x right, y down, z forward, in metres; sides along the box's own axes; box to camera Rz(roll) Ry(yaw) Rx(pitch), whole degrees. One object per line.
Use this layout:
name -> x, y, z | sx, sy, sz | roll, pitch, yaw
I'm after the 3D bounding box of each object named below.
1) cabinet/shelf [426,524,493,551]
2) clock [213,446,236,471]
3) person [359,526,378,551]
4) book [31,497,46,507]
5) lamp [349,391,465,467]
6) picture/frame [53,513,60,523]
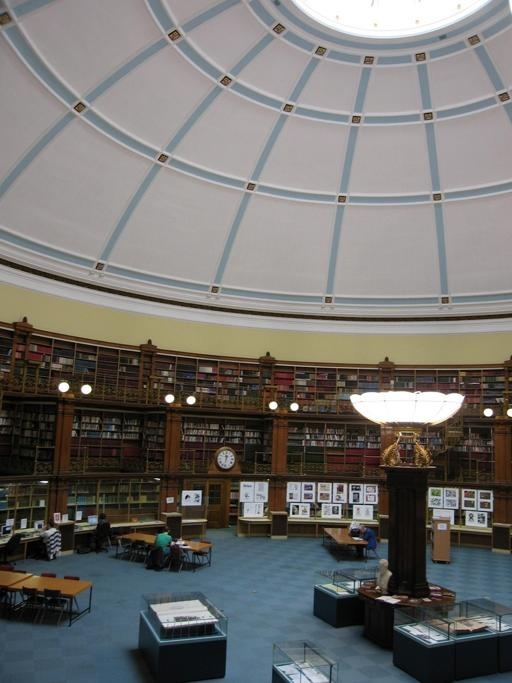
cabinet/shelf -> 5.547, 5.040, 12.328 | 0.972, 0.485, 0.355 | -3, -15, 22
clock -> -0.856, 3.174, 12.909 | 0.567, 0.596, 0.235 | 2, -11, -24
person -> 2.468, 4.360, 10.521 | 0.323, 0.442, 0.750 | 0, -14, 10
book -> -4.555, 3.296, 10.023 | 0.151, 0.183, 0.276 | -2, -10, 10
lamp -> 1.758, 0.993, 5.579 | 1.213, 0.940, 0.943 | -6, -16, 31
picture/frame -> -4.132, 3.646, 9.892 | 0.131, 0.225, 0.022 | 0, -19, -14
